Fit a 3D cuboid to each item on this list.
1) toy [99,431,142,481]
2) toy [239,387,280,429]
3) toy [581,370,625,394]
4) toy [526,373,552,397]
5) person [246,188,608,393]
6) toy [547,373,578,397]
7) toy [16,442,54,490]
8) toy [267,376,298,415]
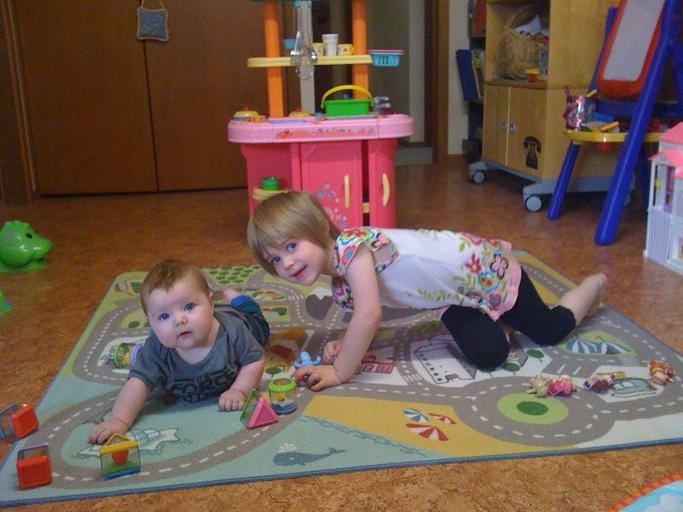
[{"bbox_3d":[-0.487,0.447,1.303,0.088,0.093,0.091,0,4,-19],"label":"toy"},{"bbox_3d":[-0.207,0.383,1.489,0.083,0.080,0.085,-3,1,-22],"label":"toy"},{"bbox_3d":[0.693,0.325,1.553,0.065,0.025,0.061,-21,12,-34],"label":"toy"},{"bbox_3d":[0.521,0.337,1.544,0.018,0.054,0.051,36,-12,-30],"label":"toy"},{"bbox_3d":[0.261,0.114,1.779,1.044,0.563,0.434,-1,-2,-6],"label":"person"},{"bbox_3d":[0.579,0.337,1.523,0.060,0.026,0.050,-12,41,-9],"label":"toy"},{"bbox_3d":[-0.671,0.460,1.279,0.077,0.084,0.082,-3,-3,44],"label":"toy"},{"bbox_3d":[-0.149,0.358,1.491,0.069,0.074,0.070,-7,7,-29],"label":"toy"}]
